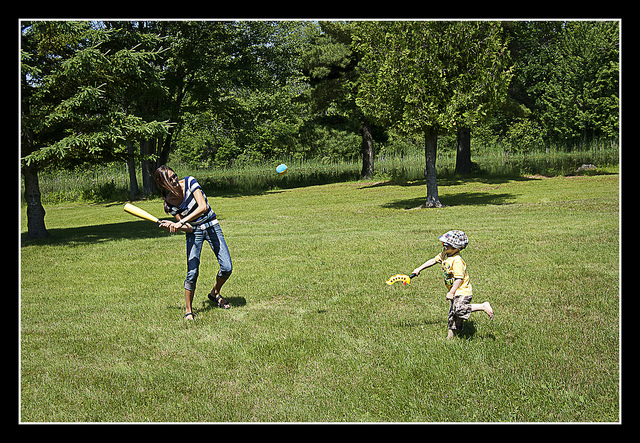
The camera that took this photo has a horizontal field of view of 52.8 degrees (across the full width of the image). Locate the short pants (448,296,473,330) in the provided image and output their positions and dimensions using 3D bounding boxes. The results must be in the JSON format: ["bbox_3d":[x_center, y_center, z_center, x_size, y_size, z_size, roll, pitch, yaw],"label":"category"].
[{"bbox_3d":[2.326,1.524,10.669,0.374,0.639,0.360,-1,8,7],"label":"short pants"}]

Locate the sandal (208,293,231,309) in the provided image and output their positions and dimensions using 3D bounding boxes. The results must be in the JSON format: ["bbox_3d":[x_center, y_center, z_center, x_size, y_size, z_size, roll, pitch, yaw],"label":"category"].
[{"bbox_3d":[-1.915,1.526,12.210,0.481,0.131,0.176,29,25,27],"label":"sandal"}]
